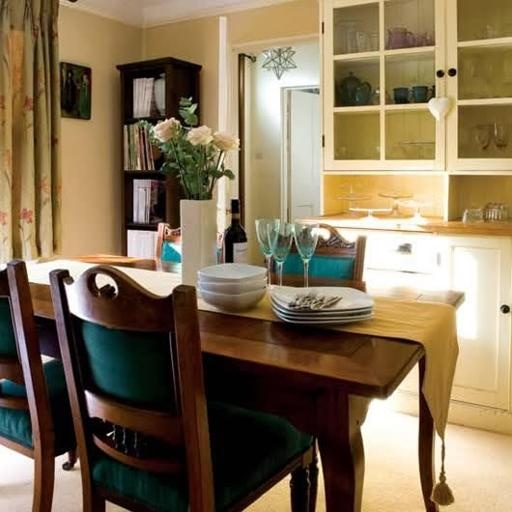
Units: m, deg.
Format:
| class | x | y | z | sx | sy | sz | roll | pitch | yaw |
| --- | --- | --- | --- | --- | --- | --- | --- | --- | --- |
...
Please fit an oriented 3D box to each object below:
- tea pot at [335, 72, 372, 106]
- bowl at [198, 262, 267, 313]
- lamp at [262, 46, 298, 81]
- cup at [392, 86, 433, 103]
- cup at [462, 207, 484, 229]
| class | x | y | z | sx | sy | sz | roll | pitch | yaw |
| --- | --- | --- | --- | --- | --- | --- | --- | --- | --- |
| tea pot | 0.558 | -0.955 | 2.811 | 0.185 | 0.233 | 0.155 | 9 | 17 | 34 |
| bowl | -0.066 | 0.069 | 1.304 | 0.140 | 0.092 | 0.124 | -1 | 2 | 44 |
| lamp | 0.215 | -1.879 | 4.797 | 0.363 | 0.274 | 0.347 | 15 | 32 | 41 |
| cup | 0.853 | -0.853 | 2.638 | 0.092 | 0.070 | 0.142 | -12 | 13 | -41 |
| cup | 1.088 | -0.185 | 2.416 | 0.102 | 0.133 | 0.118 | 0 | -2 | -2 |
